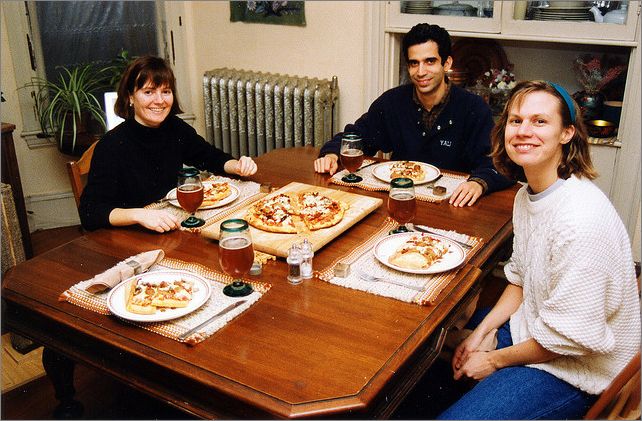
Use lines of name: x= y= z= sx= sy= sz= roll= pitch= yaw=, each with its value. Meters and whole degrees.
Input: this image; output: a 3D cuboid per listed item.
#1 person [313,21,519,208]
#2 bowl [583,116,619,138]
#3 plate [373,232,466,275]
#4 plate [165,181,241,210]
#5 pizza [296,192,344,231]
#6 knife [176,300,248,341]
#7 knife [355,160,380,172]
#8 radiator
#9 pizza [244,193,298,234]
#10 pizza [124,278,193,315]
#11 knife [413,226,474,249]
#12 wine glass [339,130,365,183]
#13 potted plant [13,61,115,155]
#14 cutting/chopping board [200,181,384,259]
person: x=0.579 y=-0.590 z=2.576 sx=1.086 sy=0.873 sz=0.824 roll=12 pitch=30 yaw=33
bowl: x=1.913 y=-0.560 z=2.980 sx=0.168 sy=0.071 sz=0.178 roll=-2 pitch=18 yaw=1
plate: x=0.370 y=0.153 z=1.656 sx=0.332 sy=0.070 sz=0.367 roll=6 pitch=20 yaw=20
plate: x=-0.501 y=-0.071 z=2.003 sx=0.195 sy=0.027 sz=0.196 roll=8 pitch=25 yaw=18
pizza: x=0.002 y=0.003 z=1.847 sx=0.138 sy=0.030 sz=0.210 roll=-4 pitch=25 yaw=-5
knife: x=-0.348 y=0.348 z=1.367 sx=0.033 sy=0.010 sz=0.244 roll=31 pitch=37 yaw=32
knife: x=0.240 y=-0.227 z=2.284 sx=0.020 sy=0.015 sz=0.182 roll=19 pitch=32 yaw=39
radiator: x=-0.605 y=-0.906 z=4.220 sx=1.085 sy=1.122 sz=0.328 roll=7 pitch=58 yaw=-6
pizza: x=-0.203 y=0.029 z=1.798 sx=0.151 sy=0.029 sz=0.211 roll=0 pitch=28 yaw=-3
pizza: x=-0.531 y=0.278 z=1.415 sx=0.125 sy=0.025 sz=0.122 roll=-6 pitch=26 yaw=-22
knife: x=0.475 y=0.110 z=1.711 sx=0.232 sy=0.016 sz=0.026 roll=17 pitch=41 yaw=35
wine glass: x=0.152 y=-0.270 z=2.144 sx=0.122 sy=0.234 sz=0.120 roll=-6 pitch=36 yaw=-7
potted plant: x=-2.126 y=-0.877 z=3.691 sx=0.583 sy=0.464 sz=0.717 roll=2 pitch=9 yaw=-1
cutting/chopping board: x=-0.146 y=0.043 z=1.785 sx=0.363 sy=0.018 sz=0.484 roll=13 pitch=27 yaw=28
